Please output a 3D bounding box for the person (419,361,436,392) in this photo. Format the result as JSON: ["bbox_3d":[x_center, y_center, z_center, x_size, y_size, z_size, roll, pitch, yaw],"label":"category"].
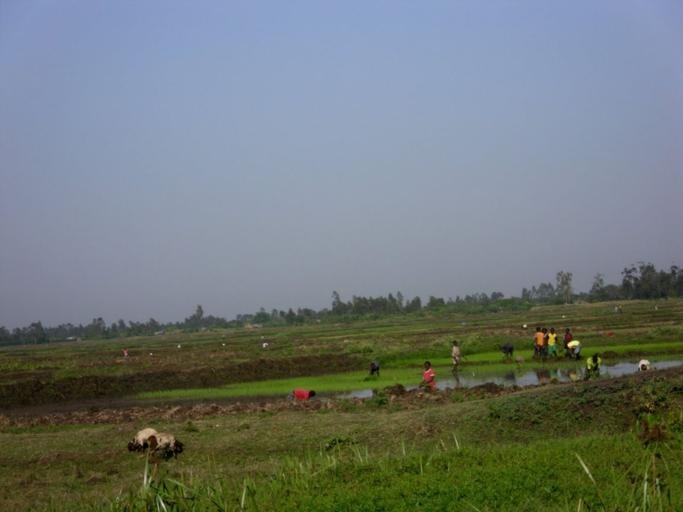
[{"bbox_3d":[4.749,6.509,43.520,0.674,1.551,1.786,-4,-6,6],"label":"person"}]

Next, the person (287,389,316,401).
[{"bbox_3d":[-2.222,8.129,46.458,0.992,0.392,0.742,5,2,-9],"label":"person"}]

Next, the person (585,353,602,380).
[{"bbox_3d":[13.955,6.135,43.787,0.597,1.090,1.629,-5,-40,15],"label":"person"}]

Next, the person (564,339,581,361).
[{"bbox_3d":[14.934,6.045,50.844,0.905,1.168,1.792,-5,-6,15],"label":"person"}]
